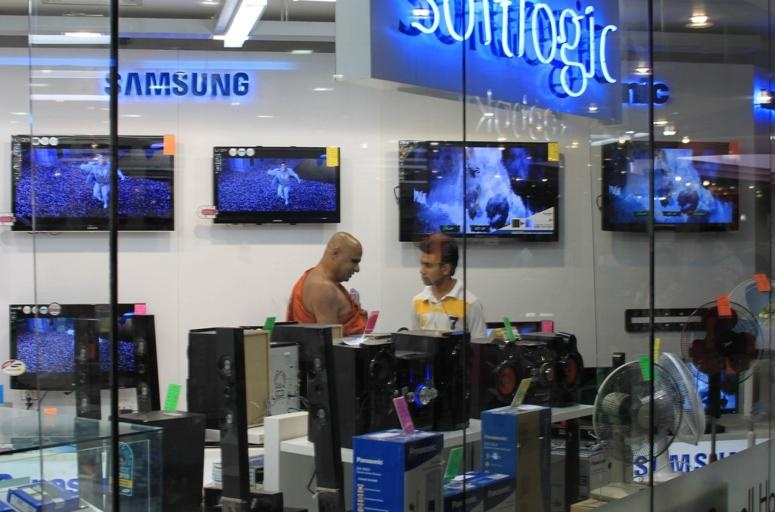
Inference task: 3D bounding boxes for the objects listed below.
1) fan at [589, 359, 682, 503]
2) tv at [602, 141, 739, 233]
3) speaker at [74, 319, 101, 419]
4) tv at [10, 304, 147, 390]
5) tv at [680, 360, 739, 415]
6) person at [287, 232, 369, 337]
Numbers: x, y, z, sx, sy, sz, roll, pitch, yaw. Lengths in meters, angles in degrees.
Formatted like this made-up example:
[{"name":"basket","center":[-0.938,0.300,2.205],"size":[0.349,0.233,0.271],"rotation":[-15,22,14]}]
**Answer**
[{"name":"fan","center":[1.321,0.859,3.853],"size":[0.529,0.621,0.115],"rotation":[-1,-3,-23]},{"name":"tv","center":[1.559,-0.386,4.028],"size":[0.918,0.500,0.095],"rotation":[-1,-3,-21]},{"name":"speaker","center":[-1.124,0.425,2.747],"size":[0.091,0.377,0.046],"rotation":[-2,-2,-12]},{"name":"tv","center":[-1.193,0.355,2.836],"size":[0.490,0.310,0.065],"rotation":[0,-4,-9]},{"name":"tv","center":[1.775,0.730,4.065],"size":[0.345,0.355,0.027],"rotation":[-4,6,-23]},{"name":"person","center":[-0.386,0.217,4.939],"size":[0.566,0.682,0.853],"rotation":[0,2,-10]}]
